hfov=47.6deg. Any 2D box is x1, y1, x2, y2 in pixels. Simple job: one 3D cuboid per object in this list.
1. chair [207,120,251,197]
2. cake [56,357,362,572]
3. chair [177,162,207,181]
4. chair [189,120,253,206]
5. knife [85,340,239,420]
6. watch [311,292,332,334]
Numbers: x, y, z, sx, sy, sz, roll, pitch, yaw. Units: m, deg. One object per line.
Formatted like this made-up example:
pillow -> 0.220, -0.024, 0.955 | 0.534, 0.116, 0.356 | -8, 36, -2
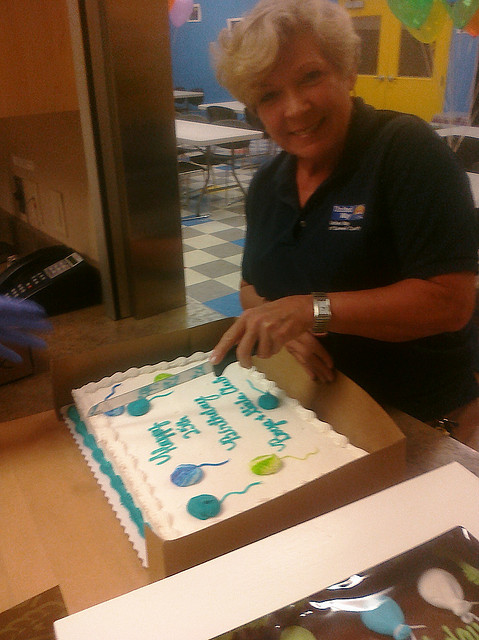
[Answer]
chair -> -0.120, -1.725, 5.659 | 0.370, 0.463, 0.333 | -8, 28, -15
cake -> -0.052, 0.221, 0.933 | 0.388, 0.136, 0.516 | -17, 25, -21
chair -> -0.448, -1.394, 5.026 | 0.222, 0.129, 0.530 | -3, 23, -6
chair -> -0.226, -1.720, 5.904 | 0.648, 0.870, 0.973 | -7, 24, -12
knife -> -0.148, 0.117, 1.020 | 0.412, 0.049, 0.034 | -16, -2, 0
watch -> 0.141, -0.011, 0.939 | 0.033, 0.073, 0.046 | 1, 25, 6
